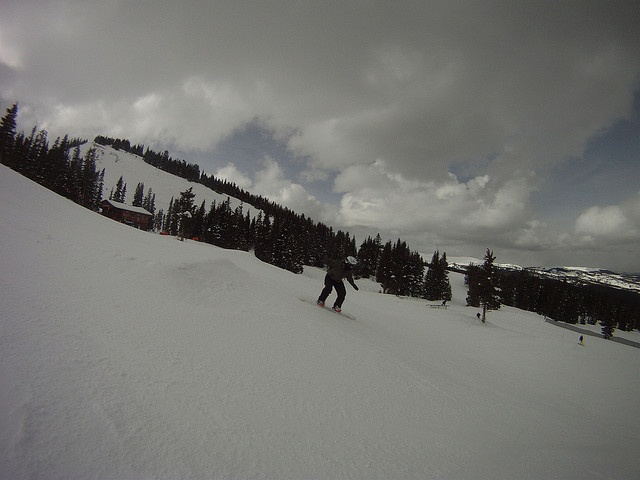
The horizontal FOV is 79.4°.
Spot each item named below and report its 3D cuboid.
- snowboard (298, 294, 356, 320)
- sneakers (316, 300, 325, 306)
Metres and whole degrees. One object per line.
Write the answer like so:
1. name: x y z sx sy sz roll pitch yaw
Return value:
1. snowboard: 0.050 1.946 11.200 2.093 0.268 0.667 17 3 1
2. sneakers: 0.009 1.880 11.398 0.143 0.159 0.198 12 -19 5
